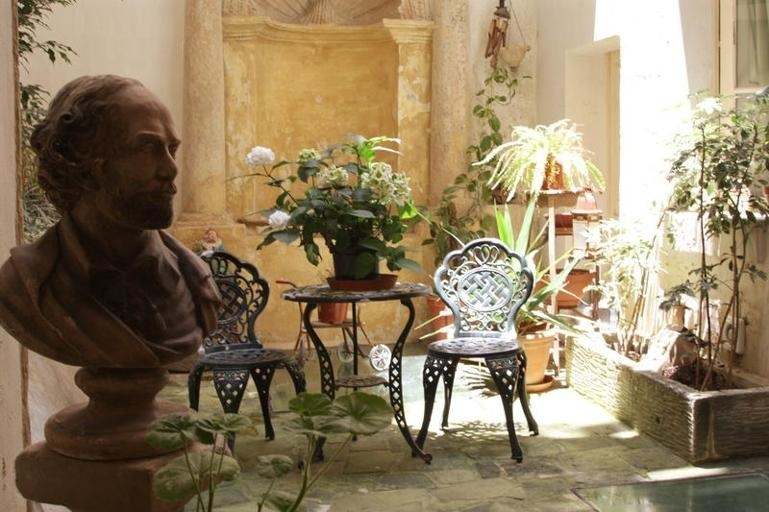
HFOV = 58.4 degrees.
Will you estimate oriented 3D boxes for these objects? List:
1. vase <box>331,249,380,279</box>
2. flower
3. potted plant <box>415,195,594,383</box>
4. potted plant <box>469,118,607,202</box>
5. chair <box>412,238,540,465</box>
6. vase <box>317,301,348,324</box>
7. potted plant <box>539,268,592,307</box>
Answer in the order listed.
[{"bbox_3d":[-0.164,0.055,3.962,0.184,0.116,0.193,0,-4,-6],"label":"vase"},{"bbox_3d":[-0.275,-0.180,4.166,0.942,0.689,0.879,-11,7,-33],"label":"flower"},{"bbox_3d":[0.971,0.300,5.864,1.586,1.613,1.480,-3,-3,35],"label":"potted plant"},{"bbox_3d":[1.166,-0.738,5.525,1.132,0.613,0.877,-2,4,29],"label":"potted plant"},{"bbox_3d":[0.588,0.561,4.334,0.913,1.236,0.859,-3,4,-20],"label":"chair"},{"bbox_3d":[-0.416,0.456,5.480,0.198,0.148,0.194,-2,-2,25],"label":"vase"},{"bbox_3d":[1.504,0.237,5.703,0.350,0.292,0.396,-1,2,-1],"label":"potted plant"}]
